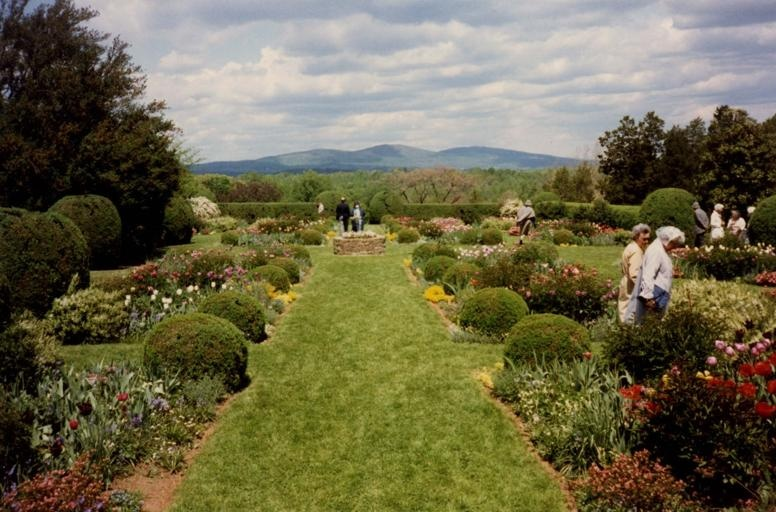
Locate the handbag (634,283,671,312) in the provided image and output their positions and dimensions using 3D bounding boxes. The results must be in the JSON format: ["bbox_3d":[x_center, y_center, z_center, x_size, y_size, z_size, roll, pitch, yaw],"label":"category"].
[{"bbox_3d":[5.035,0.856,11.536,0.510,0.555,0.234,9,3,13],"label":"handbag"}]

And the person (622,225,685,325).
[{"bbox_3d":[5.274,0.458,12.072,0.905,2.291,1.342,2,29,12],"label":"person"}]
